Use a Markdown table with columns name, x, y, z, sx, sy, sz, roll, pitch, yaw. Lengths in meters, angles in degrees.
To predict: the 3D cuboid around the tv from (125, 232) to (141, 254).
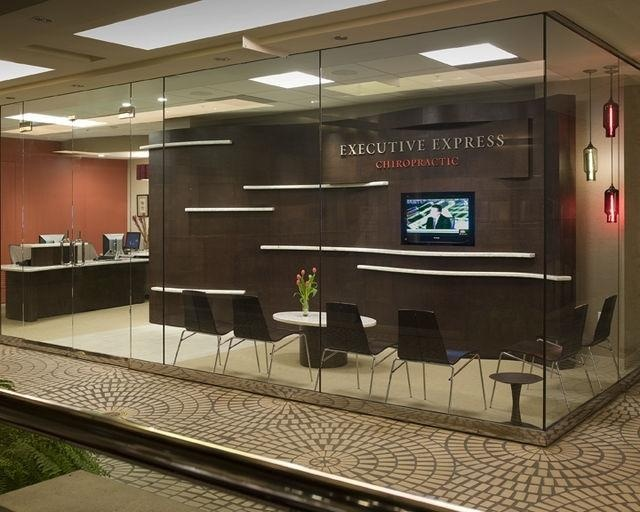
| name | x | y | z | sx | sy | sz | roll | pitch | yaw |
| --- | --- | --- | --- | --- | --- | --- | --- | --- | --- |
| tv | -2.580 | -0.185 | 6.789 | 0.350 | 0.266 | 0.064 | 2 | 1 | 42 |

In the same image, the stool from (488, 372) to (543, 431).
| name | x | y | z | sx | sy | sz | roll | pitch | yaw |
| --- | --- | --- | --- | --- | --- | --- | --- | --- | --- |
| stool | 1.749 | 1.269 | 4.418 | 0.466 | 0.409 | 0.453 | 0 | -1 | -32 |

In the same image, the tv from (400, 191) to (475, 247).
| name | x | y | z | sx | sy | sz | roll | pitch | yaw |
| --- | --- | --- | --- | --- | --- | --- | --- | --- | --- |
| tv | 1.153 | -0.356 | 4.718 | 0.583 | 0.376 | 0.022 | 1 | 4 | 24 |

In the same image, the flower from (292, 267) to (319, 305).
| name | x | y | z | sx | sy | sz | roll | pitch | yaw |
| --- | --- | --- | --- | --- | --- | --- | --- | --- | --- |
| flower | -0.125 | 0.403 | 5.429 | 0.288 | 0.399 | 0.248 | -3 | 2 | 20 |
